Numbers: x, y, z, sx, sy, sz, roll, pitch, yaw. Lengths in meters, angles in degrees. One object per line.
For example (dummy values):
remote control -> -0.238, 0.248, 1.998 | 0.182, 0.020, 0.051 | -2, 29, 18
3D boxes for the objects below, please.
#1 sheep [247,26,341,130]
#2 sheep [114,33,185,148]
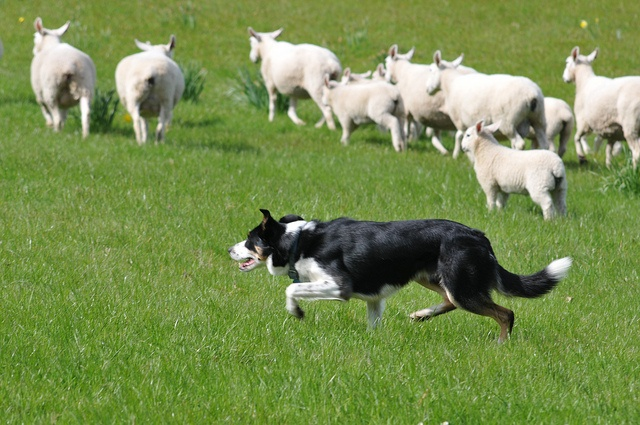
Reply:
sheep -> -0.757, -3.377, 23.418 | 1.144, 2.486, 3.220 | -13, 18, -41
sheep -> -3.669, -2.558, 20.308 | 1.373, 2.000, 1.857 | -4, 19, -19
